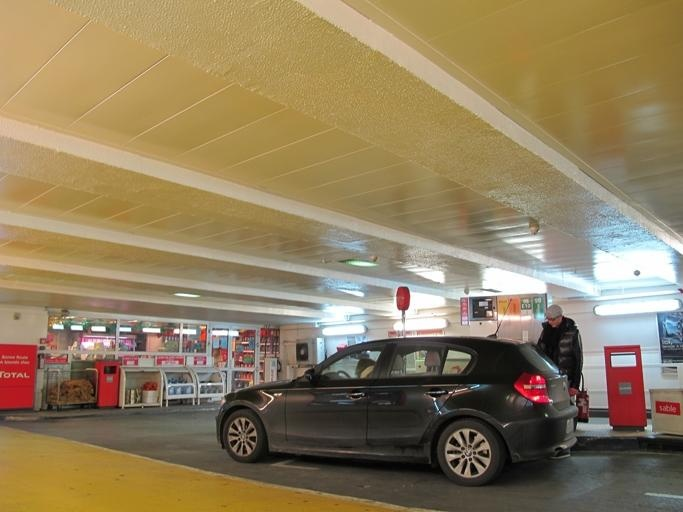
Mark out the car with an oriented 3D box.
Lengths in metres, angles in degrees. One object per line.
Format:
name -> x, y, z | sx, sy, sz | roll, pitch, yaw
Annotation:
car -> 0.723, 2.151, 6.309 | 4.507, 1.909, 0.674 | -6, -13, 22

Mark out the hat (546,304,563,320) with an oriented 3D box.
hat -> 4.102, 1.107, 8.347 | 0.358, 0.265, 0.258 | 29, -21, -27

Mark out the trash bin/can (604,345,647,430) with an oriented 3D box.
trash bin/can -> 5.656, 2.620, 8.691 | 0.706, 1.598, 0.523 | -8, -13, 27

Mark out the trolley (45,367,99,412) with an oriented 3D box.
trolley -> -11.645, 5.591, 18.148 | 1.429, 1.890, 2.323 | -15, -21, 14
